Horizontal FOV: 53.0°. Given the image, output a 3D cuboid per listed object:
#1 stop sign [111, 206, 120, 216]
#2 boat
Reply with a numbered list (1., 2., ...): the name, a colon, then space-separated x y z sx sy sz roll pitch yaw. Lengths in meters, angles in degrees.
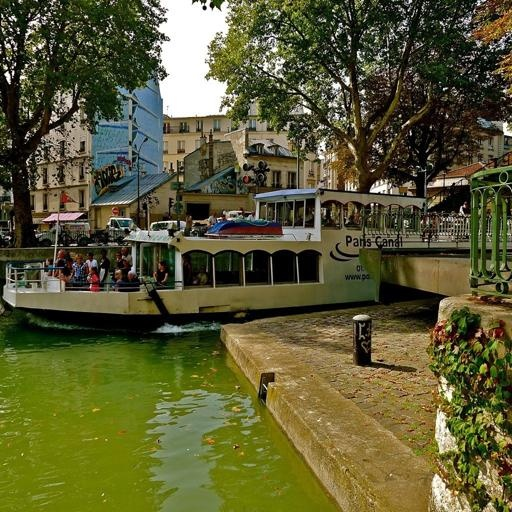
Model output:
1. stop sign: -12.463 -4.001 45.925 0.198 0.933 1.115 -17 12 -8
2. boat: -0.832 0.246 16.613 14.346 3.789 5.324 -3 5 -29
